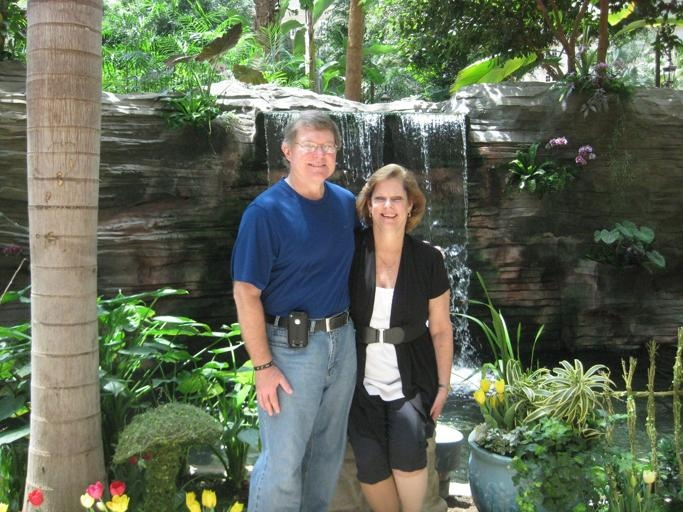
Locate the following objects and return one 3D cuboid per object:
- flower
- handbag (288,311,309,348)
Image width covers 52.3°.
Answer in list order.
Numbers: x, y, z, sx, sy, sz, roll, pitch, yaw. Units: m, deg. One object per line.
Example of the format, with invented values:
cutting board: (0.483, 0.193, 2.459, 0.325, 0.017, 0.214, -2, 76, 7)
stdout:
flower: (1.398, 0.923, 5.382, 1.239, 1.148, 1.002, -3, 1, 14)
handbag: (-0.303, 0.507, 4.747, 0.145, 0.230, 0.234, 2, 4, -1)
